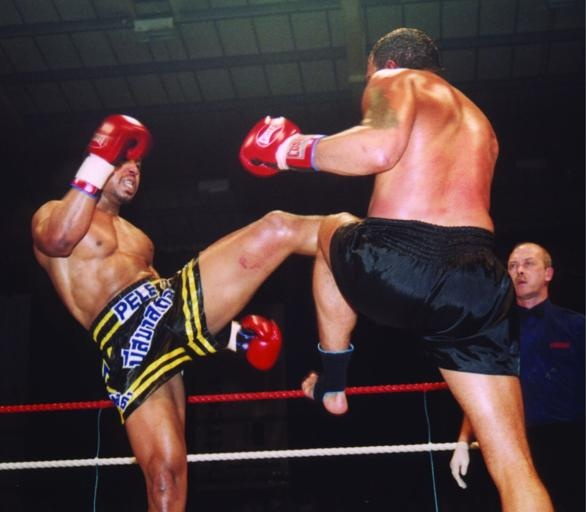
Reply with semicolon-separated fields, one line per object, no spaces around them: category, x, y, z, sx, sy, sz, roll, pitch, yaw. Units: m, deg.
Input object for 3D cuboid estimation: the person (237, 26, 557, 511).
person;0.447;0.077;2.061;0.699;1.175;1.375;-27;42;-27
